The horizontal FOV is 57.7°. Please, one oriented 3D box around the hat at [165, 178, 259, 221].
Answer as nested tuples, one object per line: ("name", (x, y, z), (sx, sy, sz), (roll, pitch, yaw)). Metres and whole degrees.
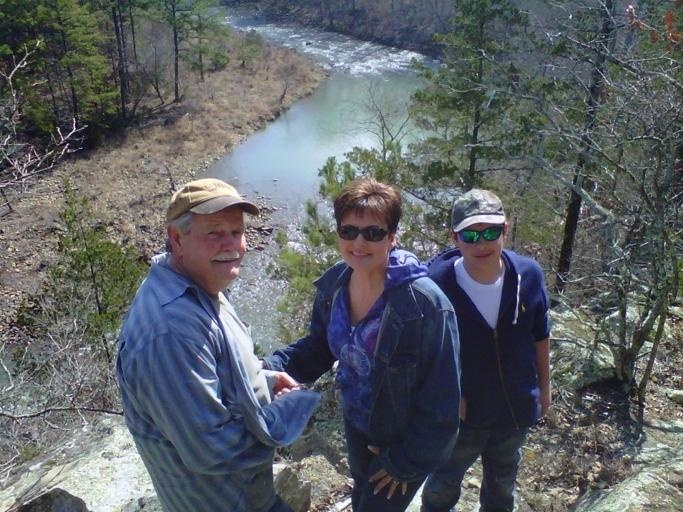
("hat", (-1.414, -0.573, 6.261), (0.824, 0.430, 0.609), (-16, 1, 26))
